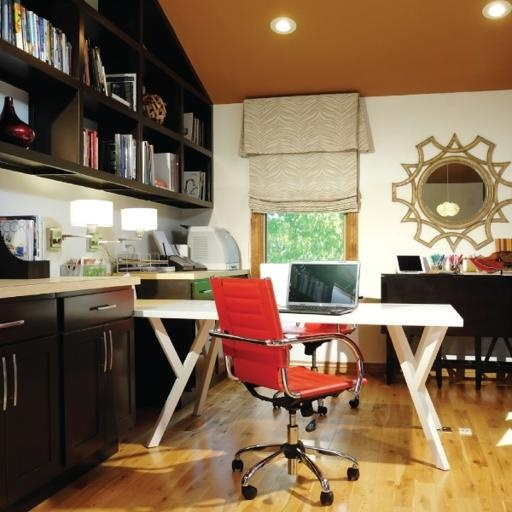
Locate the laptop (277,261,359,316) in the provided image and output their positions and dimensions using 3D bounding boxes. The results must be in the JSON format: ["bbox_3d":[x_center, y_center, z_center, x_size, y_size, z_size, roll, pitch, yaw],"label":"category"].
[{"bbox_3d":[0.354,0.158,2.452,0.353,0.236,0.268,0,1,28],"label":"laptop"}]

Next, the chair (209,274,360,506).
[{"bbox_3d":[0.092,0.561,2.430,0.845,1.261,0.852,0,-1,-32],"label":"chair"}]

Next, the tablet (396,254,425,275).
[{"bbox_3d":[1.354,0.071,4.022,0.183,0.139,0.157,0,0,3],"label":"tablet"}]

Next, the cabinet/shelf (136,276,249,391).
[{"bbox_3d":[-0.450,0.533,3.621,0.635,0.965,1.035,1,2,15],"label":"cabinet/shelf"}]

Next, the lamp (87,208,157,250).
[{"bbox_3d":[-0.934,-0.211,3.349,0.432,0.282,0.229,-1,0,10],"label":"lamp"}]

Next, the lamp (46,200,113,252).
[{"bbox_3d":[-1.036,-0.189,2.888,0.410,0.346,0.259,-1,-1,13],"label":"lamp"}]
